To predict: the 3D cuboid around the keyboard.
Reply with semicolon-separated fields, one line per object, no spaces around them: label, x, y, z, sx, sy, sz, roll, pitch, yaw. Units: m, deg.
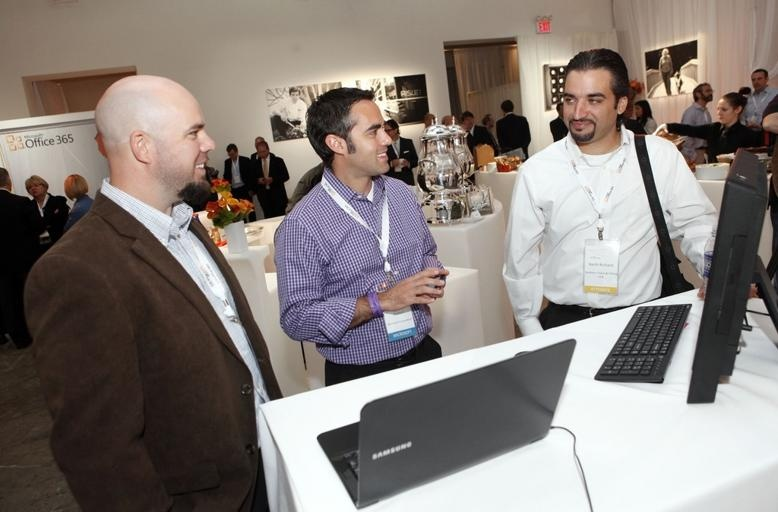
keyboard;0.898;0.286;1.714;0.211;0.055;0.542;-6;16;44
